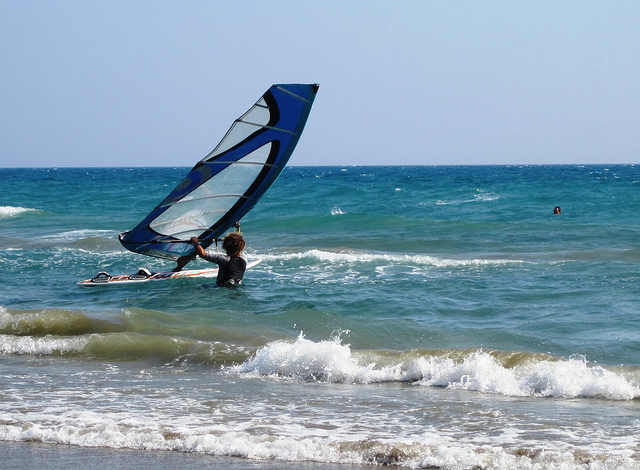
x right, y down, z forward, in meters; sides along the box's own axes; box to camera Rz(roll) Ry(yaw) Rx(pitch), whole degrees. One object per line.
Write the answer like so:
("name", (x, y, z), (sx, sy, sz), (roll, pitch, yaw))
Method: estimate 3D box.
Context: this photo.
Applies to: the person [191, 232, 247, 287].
("person", (-2.358, 0.589, 22.610), (1.177, 1.293, 1.323), (4, -5, -3))
